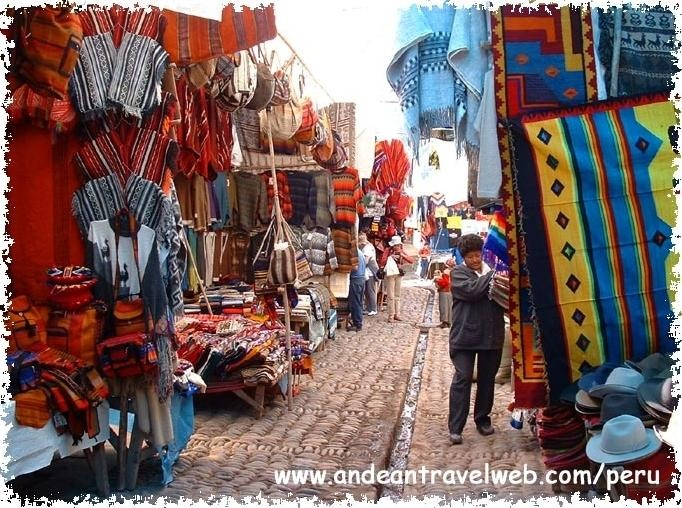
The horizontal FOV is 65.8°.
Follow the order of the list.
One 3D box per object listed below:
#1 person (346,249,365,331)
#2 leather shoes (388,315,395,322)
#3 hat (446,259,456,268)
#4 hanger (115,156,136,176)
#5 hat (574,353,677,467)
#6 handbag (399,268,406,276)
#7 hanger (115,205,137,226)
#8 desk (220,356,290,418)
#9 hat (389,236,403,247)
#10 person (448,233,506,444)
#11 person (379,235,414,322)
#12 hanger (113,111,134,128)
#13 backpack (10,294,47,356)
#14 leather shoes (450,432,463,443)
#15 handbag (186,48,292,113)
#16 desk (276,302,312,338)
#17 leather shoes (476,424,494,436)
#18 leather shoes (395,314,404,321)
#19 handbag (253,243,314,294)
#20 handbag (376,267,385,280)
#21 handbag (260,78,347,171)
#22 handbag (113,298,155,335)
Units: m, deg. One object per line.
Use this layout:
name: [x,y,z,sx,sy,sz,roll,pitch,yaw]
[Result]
person: [0.310,0.728,10.989,0.409,1.394,0.770,-4,2,1]
leather shoes: [1.130,1.485,11.959,0.105,0.133,0.111,1,1,-3]
hat: [2.275,0.189,11.015,0.138,0.203,0.173,2,6,-1]
hanger: [-1.613,-0.660,3.964,0.152,0.149,0.041,-5,2,2]
hat: [1.920,0.908,3.652,0.699,0.240,0.735,-27,2,13]
handbag: [1.415,0.424,12.259,0.117,0.147,0.152,-1,-5,7]
hanger: [-1.618,-0.286,3.936,0.107,0.164,0.038,-2,15,-5]
desk: [-0.924,1.416,5.828,0.648,0.567,0.874,-4,2,25]
hat: [1.316,-0.327,13.023,0.239,0.187,0.344,0,6,5]
person: [1.301,0.806,5.237,0.644,1.451,0.402,-4,2,-1]
person: [1.345,0.522,12.802,0.640,1.549,1.903,-4,2,5]
hanger: [-1.664,-1.024,4.017,0.121,0.127,0.128,-1,8,-5]
backpack: [-2.190,0.479,3.685,0.210,0.436,0.203,-5,2,-20]
leather shoes: [1.125,1.783,5.114,0.106,0.118,0.069,-2,-4,9]
handbag: [-1.040,-1.847,5.523,1.364,0.590,0.402,-30,-11,-45]
desk: [-0.659,0.951,7.606,0.667,0.498,0.453,-2,-9,16]
leather shoes: [1.449,1.766,5.284,0.079,0.047,0.132,2,7,7]
leather shoes: [1.346,1.472,12.182,0.220,0.171,0.084,-4,14,17]
handbag: [-0.715,0.174,6.147,0.630,0.680,0.349,-10,-3,0]
handbag: [0.958,0.481,13.013,0.184,0.275,0.086,-1,-1,-19]
handbag: [-0.534,-1.673,7.335,0.550,0.694,2.294,-21,12,7]
handbag: [-1.537,0.469,3.897,0.180,0.259,0.139,-9,-18,-19]
